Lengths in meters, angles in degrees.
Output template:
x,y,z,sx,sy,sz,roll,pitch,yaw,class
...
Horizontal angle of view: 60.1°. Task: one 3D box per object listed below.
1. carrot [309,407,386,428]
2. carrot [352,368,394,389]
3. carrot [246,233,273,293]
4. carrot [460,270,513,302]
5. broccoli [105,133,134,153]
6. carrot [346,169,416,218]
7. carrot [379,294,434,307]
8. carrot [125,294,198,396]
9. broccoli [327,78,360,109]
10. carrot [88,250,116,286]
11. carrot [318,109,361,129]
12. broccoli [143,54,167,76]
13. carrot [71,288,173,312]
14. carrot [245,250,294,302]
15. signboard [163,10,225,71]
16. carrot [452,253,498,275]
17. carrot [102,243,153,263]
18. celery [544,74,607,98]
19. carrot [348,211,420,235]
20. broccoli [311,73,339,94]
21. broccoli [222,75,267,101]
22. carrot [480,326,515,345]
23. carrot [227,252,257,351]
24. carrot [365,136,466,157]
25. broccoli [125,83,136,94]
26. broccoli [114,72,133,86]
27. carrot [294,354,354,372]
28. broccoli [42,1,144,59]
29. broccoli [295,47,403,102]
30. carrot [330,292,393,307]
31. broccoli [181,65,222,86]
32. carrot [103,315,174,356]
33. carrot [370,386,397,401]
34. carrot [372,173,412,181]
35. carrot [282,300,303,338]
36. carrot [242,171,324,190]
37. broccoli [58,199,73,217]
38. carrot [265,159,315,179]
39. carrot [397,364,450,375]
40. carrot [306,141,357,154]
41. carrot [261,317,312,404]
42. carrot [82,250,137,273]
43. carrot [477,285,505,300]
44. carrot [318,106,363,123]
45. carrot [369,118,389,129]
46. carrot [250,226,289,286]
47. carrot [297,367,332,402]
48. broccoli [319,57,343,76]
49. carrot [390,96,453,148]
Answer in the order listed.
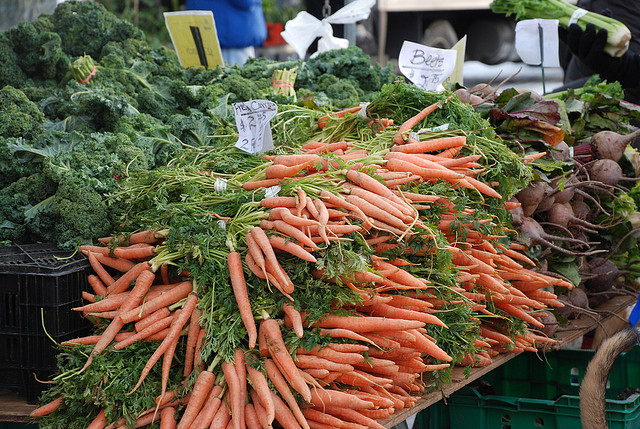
x,y,z,sx,sy,sz,roll,pitch,yaw,class
0.148,1.131,3.071,0.345,0.056,0.052,19,22,14,carrot
0.292,0.934,3.137,0.218,0.042,0.032,31,45,-5,carrot
-0.359,0.255,3.109,0.064,0.363,0.073,-22,-5,31,carrot
1.047,0.465,3.548,0.288,0.049,0.073,35,43,6,carrot
-1.453,-0.530,3.997,0.153,0.082,0.130,-21,14,32,broccoli
0.349,-0.114,3.292,0.430,0.075,0.075,31,60,23,carrot
0.490,0.505,3.246,0.323,0.060,0.059,3,35,10,carrot
-0.902,0.760,3.138,0.090,0.634,0.087,38,-10,-9,carrot
0.212,-1.125,5.104,0.292,0.187,0.478,0,23,-3,broccoli
-1.389,0.341,3.512,0.049,0.054,0.233,-33,84,-36,carrot
0.147,-0.703,4.103,0.332,0.066,0.065,-21,0,0,carrot
-1.423,-1.303,4.772,0.193,0.051,0.190,17,28,-47,broccoli
-1.155,0.510,3.279,0.426,0.061,0.063,-13,-10,7,carrot
-0.276,0.346,3.097,0.332,0.079,0.076,43,27,10,carrot
-1.158,-1.624,5.138,0.531,0.504,0.134,6,23,12,signboard
0.958,0.311,3.477,0.295,0.077,0.054,17,17,-15,carrot
-1.223,0.240,3.492,0.339,0.097,0.089,-2,-4,20,carrot
2.191,-1.070,4.630,0.590,0.166,0.337,-9,25,-21,celery
0.361,0.046,3.200,0.256,0.039,0.035,24,-14,6,carrot
0.039,-1.255,5.298,0.229,0.158,0.223,31,43,15,broccoli
-0.653,-1.083,4.827,0.455,0.166,0.298,-6,-7,10,broccoli
1.180,0.812,3.683,0.265,0.054,0.055,24,49,16,carrot
-0.436,0.460,3.149,0.118,0.602,0.097,-9,-12,-39,carrot
0.657,-0.446,3.659,0.496,0.065,0.064,-11,-14,1,carrot
-1.535,-1.020,4.492,0.087,0.087,0.027,1,-14,-32,broccoli
-1.610,-1.113,4.530,0.129,0.090,0.070,8,24,16,broccoli
0.020,0.823,3.053,0.337,0.080,0.066,4,-12,9,carrot
-2.002,-1.660,4.938,0.749,0.390,0.638,13,35,-21,broccoli
0.277,-1.404,5.433,0.868,0.512,0.852,-5,12,-38,broccoli
0.219,0.484,3.128,0.368,0.056,0.055,-7,-3,-3,carrot
-1.038,-1.230,4.870,0.282,0.115,0.192,-23,42,-1,broccoli
-1.021,0.698,3.149,0.376,0.058,0.055,-28,66,-15,carrot
0.351,1.019,3.131,0.132,0.019,0.019,34,53,19,carrot
0.441,-0.229,3.398,0.255,0.047,0.046,-1,-15,19,carrot
-0.152,0.577,3.032,0.053,0.058,0.213,-8,59,-18,carrot
-0.208,-0.208,3.387,0.353,0.049,0.053,-13,-9,13,carrot
-1.670,-0.043,3.639,0.072,0.091,0.078,22,31,40,broccoli
-0.173,-0.276,3.407,0.249,0.069,0.061,-18,-17,26,carrot
0.598,0.907,3.236,0.352,0.054,0.054,-6,66,-4,carrot
0.079,-0.449,3.743,0.333,0.060,0.061,-16,3,-2,carrot
-0.215,0.805,3.061,0.143,0.132,0.563,11,32,-45,carrot
-1.330,0.297,3.504,0.255,0.055,0.060,19,56,8,carrot
1.099,0.508,3.578,0.140,0.027,0.025,31,54,8,carrot
0.148,-0.754,4.124,0.344,0.158,0.190,4,23,8,carrot
0.416,-0.642,3.932,0.136,0.083,0.097,3,23,4,carrot
-0.301,0.186,3.134,0.098,0.105,0.514,-21,66,-10,carrot
-0.039,0.935,3.037,0.229,0.041,0.055,41,45,10,carrot
0.118,-1.439,5.360,0.171,0.172,0.046,-36,-1,6,broccoli
0.710,-0.631,3.795,0.502,0.092,0.073,-40,78,-8,carrot
